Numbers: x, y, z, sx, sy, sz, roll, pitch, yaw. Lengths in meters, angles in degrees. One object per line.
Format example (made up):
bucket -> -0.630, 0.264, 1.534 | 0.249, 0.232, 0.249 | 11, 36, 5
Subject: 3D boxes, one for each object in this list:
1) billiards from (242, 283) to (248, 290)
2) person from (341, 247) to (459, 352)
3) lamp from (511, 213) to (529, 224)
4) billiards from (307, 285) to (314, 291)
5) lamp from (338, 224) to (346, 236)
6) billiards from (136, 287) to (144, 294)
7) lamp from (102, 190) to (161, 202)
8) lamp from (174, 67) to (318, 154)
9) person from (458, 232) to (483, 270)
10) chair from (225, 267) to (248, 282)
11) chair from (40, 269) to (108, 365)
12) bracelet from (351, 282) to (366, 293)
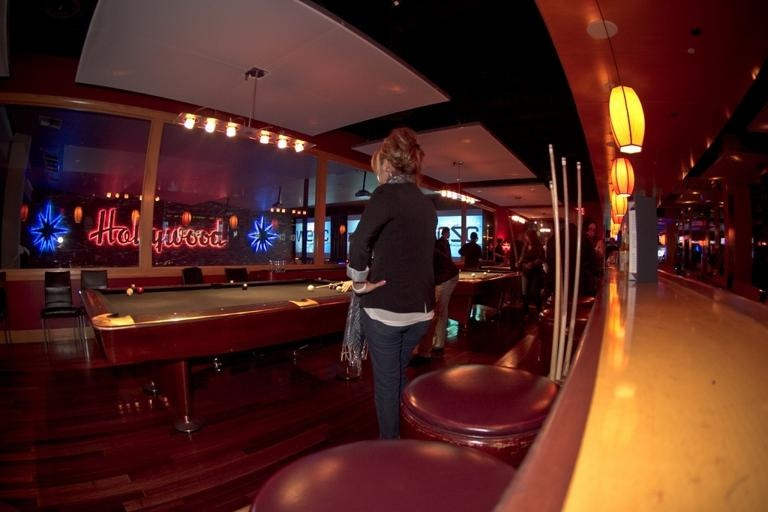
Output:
billiards -> -1.732, 0.380, 6.176 | 0.064, 0.071, 0.064 | 8, -9, 2
person -> 0.143, 0.404, 4.576 | 0.860, 0.706, 1.392 | -2, -4, 45
lamp -> 4.800, -1.332, 17.524 | 0.155, 0.179, 1.074 | 23, 11, 26
billiards -> -0.875, 0.382, 5.924 | 0.059, 0.059, 0.077 | -17, -6, 29
lamp -> -1.159, -0.759, 13.978 | 0.241, 0.278, 0.243 | 4, -5, 16
billiards -> -2.816, 0.403, 5.730 | 0.067, 0.064, 0.067 | 13, -5, 0
lamp -> -3.985, -0.942, 7.878 | 0.748, 0.131, 0.189 | -1, 3, -33
lamp -> -1.782, -2.063, 6.863 | 1.559, 0.954, 0.329 | 21, 26, 32
person -> 1.831, -0.125, 10.431 | 0.412, 0.742, 1.172 | 1, 3, 9
chair -> -2.254, 0.294, 7.626 | 0.247, 0.345, 0.290 | 9, -9, -42
chair -> -4.494, 0.757, 6.979 | 0.578, 1.067, 1.122 | -1, 3, -34
bracelet -> -0.208, 0.264, 4.121 | 0.115, 0.099, 0.049 | 1, 3, 14
